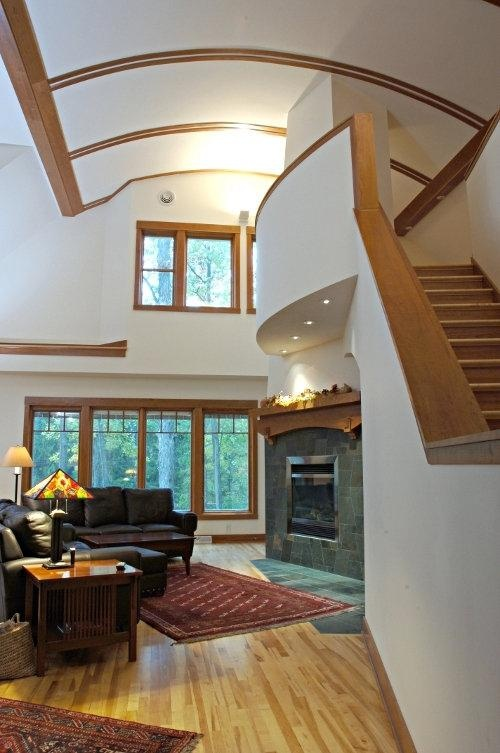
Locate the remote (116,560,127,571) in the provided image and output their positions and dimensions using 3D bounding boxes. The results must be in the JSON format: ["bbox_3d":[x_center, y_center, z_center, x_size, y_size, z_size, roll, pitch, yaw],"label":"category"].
[{"bbox_3d":[-0.868,1.288,3.420,0.066,0.035,0.097,1,-1,-3],"label":"remote"}]

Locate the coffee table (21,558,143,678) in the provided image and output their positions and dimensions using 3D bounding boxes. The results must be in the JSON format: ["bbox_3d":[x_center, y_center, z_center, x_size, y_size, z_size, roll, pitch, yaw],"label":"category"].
[{"bbox_3d":[-1.101,1.382,3.305,0.673,0.619,0.673,7,-15,-36],"label":"coffee table"}]

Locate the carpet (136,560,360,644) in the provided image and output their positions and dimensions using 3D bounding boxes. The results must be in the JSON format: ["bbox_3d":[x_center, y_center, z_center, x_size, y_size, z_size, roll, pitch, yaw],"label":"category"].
[{"bbox_3d":[-0.281,2.102,4.830,1.691,0.051,2.188,6,-13,-28],"label":"carpet"}]

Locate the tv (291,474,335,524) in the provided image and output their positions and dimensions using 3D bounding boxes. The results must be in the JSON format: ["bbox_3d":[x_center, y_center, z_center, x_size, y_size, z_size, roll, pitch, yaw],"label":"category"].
[{"bbox_3d":[0.796,1.554,6.590,0.159,0.585,0.962,4,-12,-21],"label":"tv"}]

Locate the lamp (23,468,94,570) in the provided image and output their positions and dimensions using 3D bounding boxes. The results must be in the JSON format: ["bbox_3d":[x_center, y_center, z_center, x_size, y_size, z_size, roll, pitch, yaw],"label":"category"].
[{"bbox_3d":[-1.310,0.966,3.488,0.439,0.663,0.462,1,-2,20],"label":"lamp"}]
